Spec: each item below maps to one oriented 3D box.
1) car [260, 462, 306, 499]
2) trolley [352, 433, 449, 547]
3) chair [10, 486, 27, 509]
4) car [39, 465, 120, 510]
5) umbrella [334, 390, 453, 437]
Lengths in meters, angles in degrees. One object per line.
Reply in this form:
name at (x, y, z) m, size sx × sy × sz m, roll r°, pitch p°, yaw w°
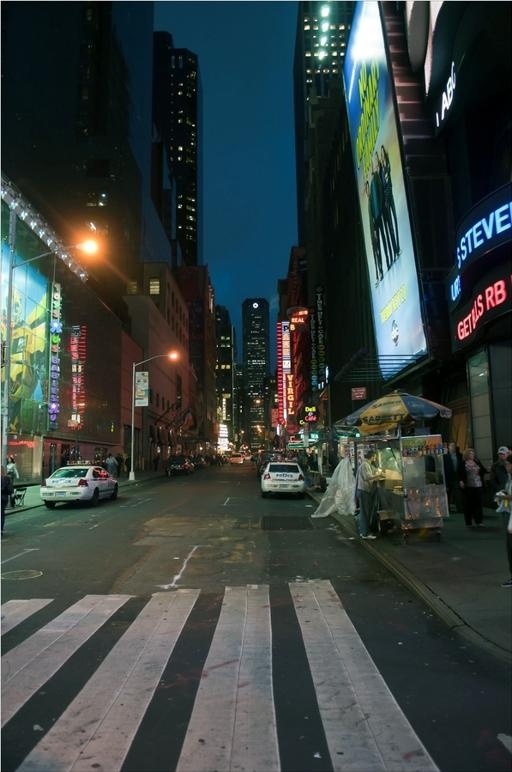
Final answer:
car at (1.139, 3.806, 22.678) m, size 0.906 × 1.130 × 2.124 m, roll 0°, pitch 1°, yaw 0°
trolley at (3.122, 2.075, 11.601) m, size 1.361 × 2.102 × 2.451 m, roll 0°, pitch -6°, yaw -4°
chair at (-8.329, 3.813, 19.272) m, size 0.509 × 0.689 × 2.303 m, roll 2°, pitch -8°, yaw -24°
car at (-6.244, 3.521, 19.768) m, size 1.481 × 1.430 × 3.180 m, roll -1°, pitch -7°, yaw 6°
umbrella at (2.928, 0.577, 12.346) m, size 1.323 × 0.865 × 2.760 m, roll 1°, pitch -7°, yaw -14°
